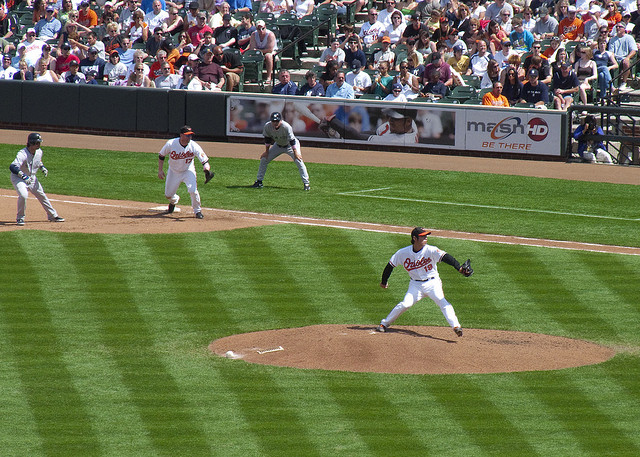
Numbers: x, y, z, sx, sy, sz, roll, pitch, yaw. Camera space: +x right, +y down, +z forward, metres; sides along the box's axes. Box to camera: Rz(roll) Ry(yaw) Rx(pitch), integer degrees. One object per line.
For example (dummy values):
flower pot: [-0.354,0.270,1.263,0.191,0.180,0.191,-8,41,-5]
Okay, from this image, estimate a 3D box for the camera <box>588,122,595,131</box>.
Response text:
camera: [7.147,-2.683,38.129,0.158,0.241,0.222,3,12,10]

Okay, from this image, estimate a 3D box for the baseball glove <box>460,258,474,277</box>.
baseball glove: [2.608,0.689,26.238,0.182,0.313,0.495,4,12,18]

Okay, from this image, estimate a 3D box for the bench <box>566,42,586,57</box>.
bench: [7.040,-5.013,40.232,0.355,0.345,0.671,2,11,6]

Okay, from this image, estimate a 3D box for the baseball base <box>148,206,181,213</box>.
baseball base: [-3.531,-0.437,33.272,0.742,0.060,0.636,0,10,-5]

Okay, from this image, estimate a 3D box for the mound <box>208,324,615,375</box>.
mound: [1.617,2.178,26.050,6.669,0.482,1.634,1,10,1]
